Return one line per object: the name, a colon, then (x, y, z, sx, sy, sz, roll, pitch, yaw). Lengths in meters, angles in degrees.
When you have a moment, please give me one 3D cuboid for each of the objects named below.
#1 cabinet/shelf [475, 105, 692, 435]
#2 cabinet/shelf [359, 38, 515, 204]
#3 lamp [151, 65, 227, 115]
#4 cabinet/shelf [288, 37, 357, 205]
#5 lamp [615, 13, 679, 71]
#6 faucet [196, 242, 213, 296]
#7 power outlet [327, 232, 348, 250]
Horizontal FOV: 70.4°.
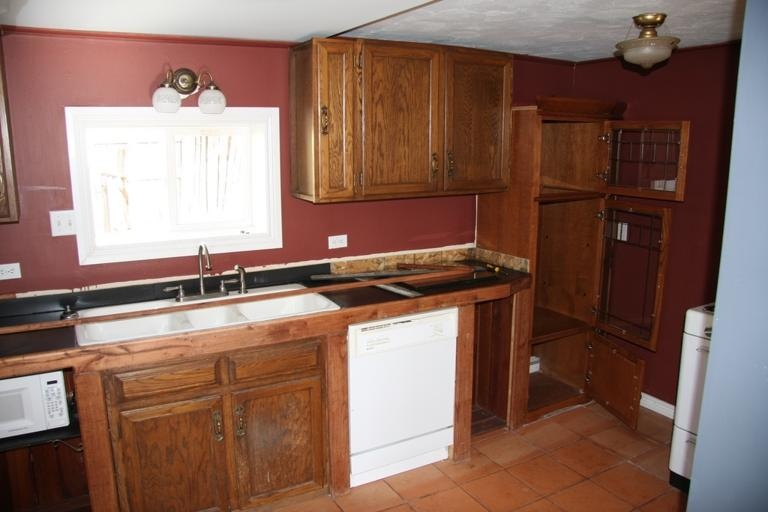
cabinet/shelf: (1.620, 0.012, 4.488, 1.396, 2.559, 1.083, 4, 18, 25)
cabinet/shelf: (0.354, -1.018, 3.945, 1.245, 0.824, 0.465, -4, 10, -23)
lamp: (-1.306, -1.079, 3.585, 0.476, 0.283, 0.219, 0, -4, -5)
cabinet/shelf: (-0.419, -0.933, 3.877, 0.415, 1.063, 0.544, -7, 16, -26)
lamp: (1.639, -1.331, 3.399, 0.400, 0.307, 0.370, -5, 17, -14)
faucet: (-1.236, 0.079, 3.733, 0.115, 0.361, 0.278, -10, 17, -17)
power outlet: (-0.365, -0.117, 4.179, 0.142, 0.091, 0.015, -7, 23, -24)
